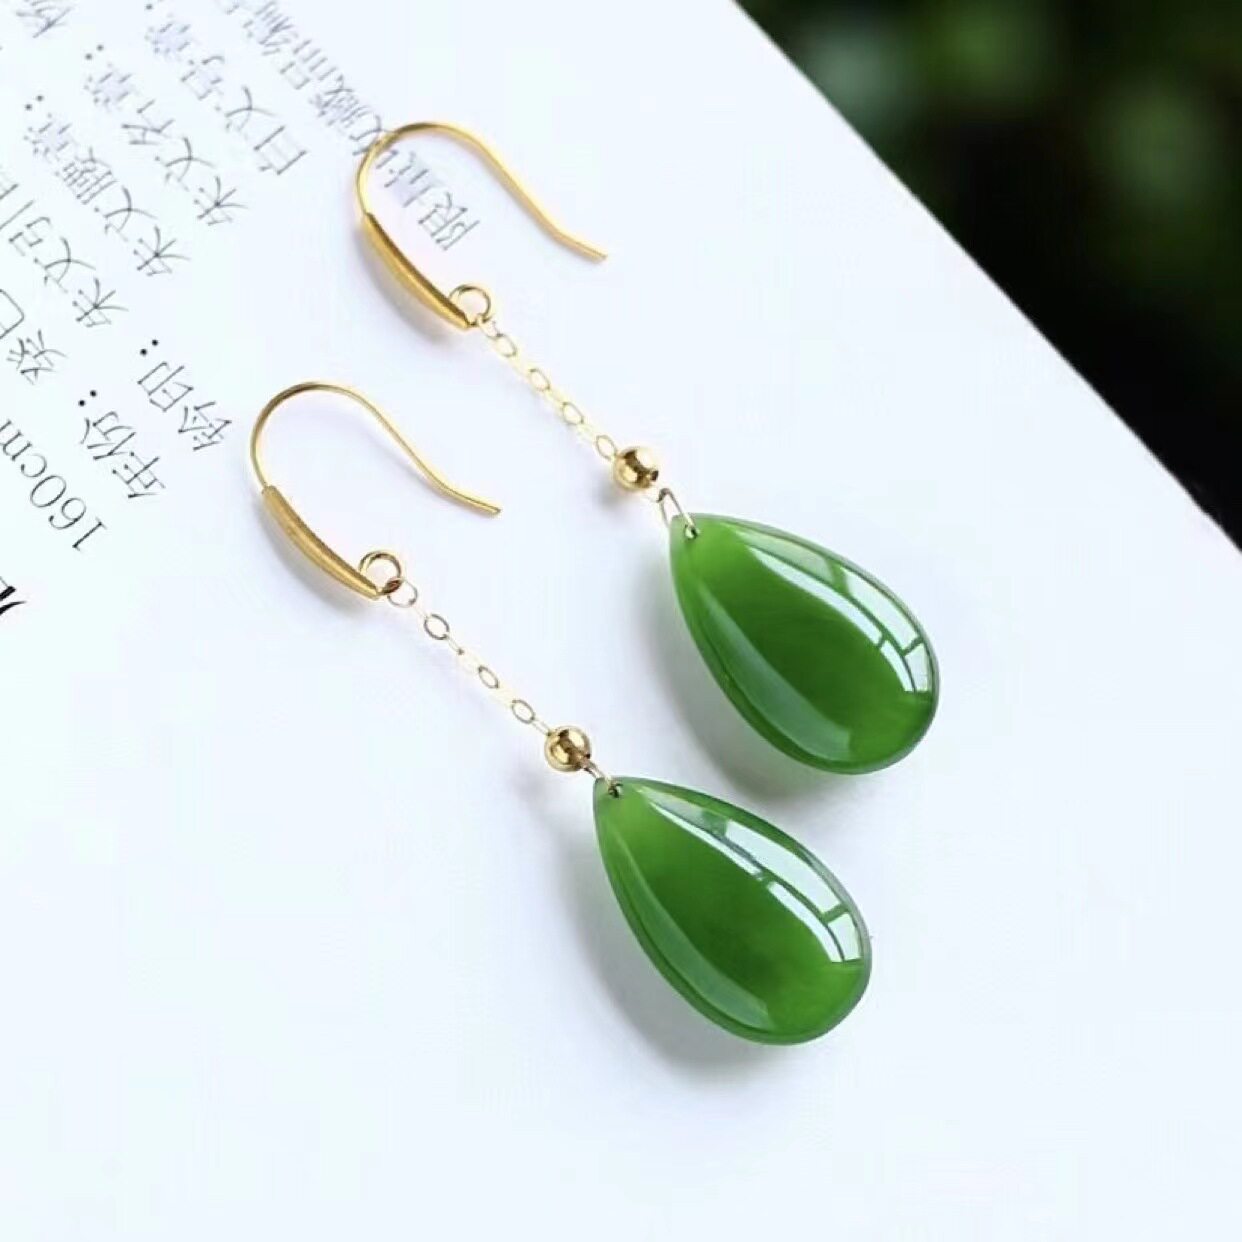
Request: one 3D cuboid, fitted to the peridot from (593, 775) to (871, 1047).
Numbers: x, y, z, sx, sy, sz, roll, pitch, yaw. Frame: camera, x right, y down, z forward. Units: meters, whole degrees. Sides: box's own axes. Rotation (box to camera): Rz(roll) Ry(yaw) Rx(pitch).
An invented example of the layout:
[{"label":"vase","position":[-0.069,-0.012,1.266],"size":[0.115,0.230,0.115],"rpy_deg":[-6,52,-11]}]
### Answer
[{"label":"peridot","position":[0.054,0.157,0.910],"size":[0.176,0.032,0.105],"rpy_deg":[24,76,11]}]
